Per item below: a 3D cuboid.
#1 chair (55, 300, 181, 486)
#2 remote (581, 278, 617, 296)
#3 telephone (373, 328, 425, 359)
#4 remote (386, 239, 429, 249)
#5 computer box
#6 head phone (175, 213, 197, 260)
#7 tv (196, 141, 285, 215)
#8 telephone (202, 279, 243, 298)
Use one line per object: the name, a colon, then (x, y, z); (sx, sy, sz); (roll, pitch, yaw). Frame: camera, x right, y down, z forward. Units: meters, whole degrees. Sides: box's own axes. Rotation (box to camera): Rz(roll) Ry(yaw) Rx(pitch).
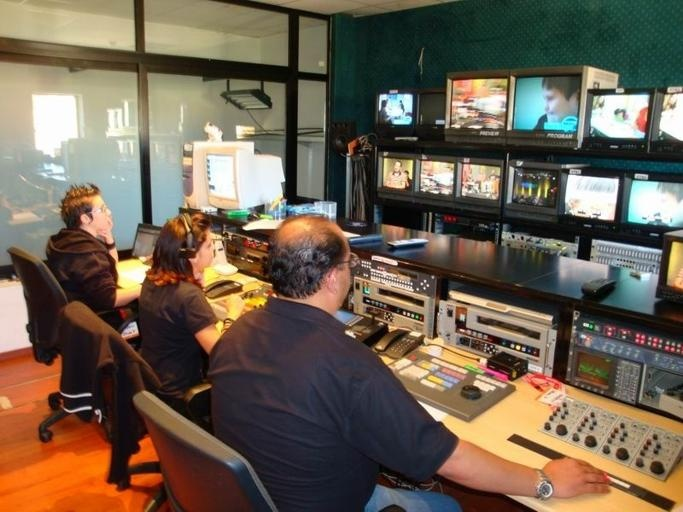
chair: (-1.081, 0.670, 2.427); (0.716, 0.860, 0.324); (40, 43, 26)
remote: (1.156, 0.123, 2.265); (0.163, 0.036, 0.075); (-13, 21, -37)
telephone: (0.294, 0.432, 2.520); (0.133, 0.055, 0.174); (7, 24, 40)
remote: (0.388, -0.075, 2.945); (0.208, 0.038, 0.084); (-5, 17, -26)
computer box: (-1.102, -0.685, 4.523); (0.614, 0.565, 0.369); (-2, 11, -32)
head phone: (-0.778, -0.127, 2.585); (0.087, 0.219, 0.258); (5, 34, -13)
tv: (-0.783, -0.654, 4.212); (0.616, 0.581, 0.793); (-9, 13, -42)
telephone: (-0.770, 0.214, 3.258); (0.175, 0.045, 0.126); (-14, 22, -42)
